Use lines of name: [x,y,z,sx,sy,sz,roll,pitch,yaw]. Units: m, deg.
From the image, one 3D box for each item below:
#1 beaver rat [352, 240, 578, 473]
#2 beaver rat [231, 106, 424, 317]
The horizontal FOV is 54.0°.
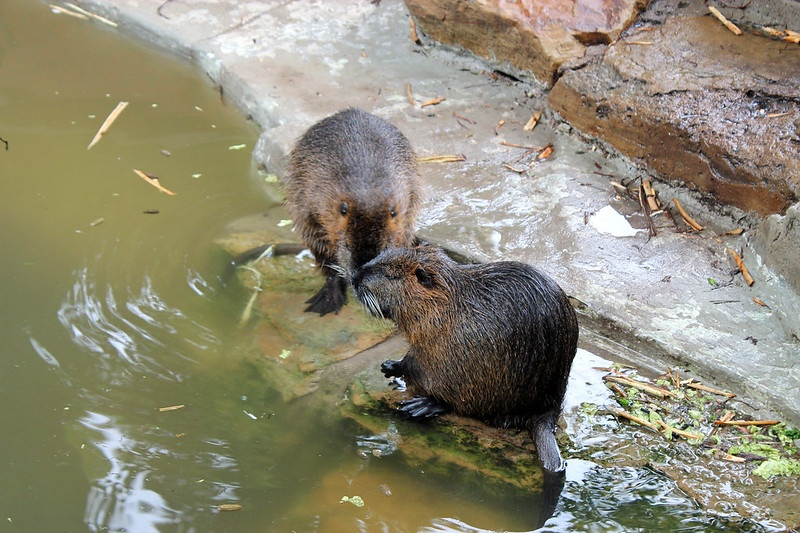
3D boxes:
beaver rat: [0.430,0.543,4.826,1.449,0.725,1.036,25,46,0]
beaver rat: [-0.342,-0.421,5.587,0.918,0.662,1.409,-10,51,-3]
